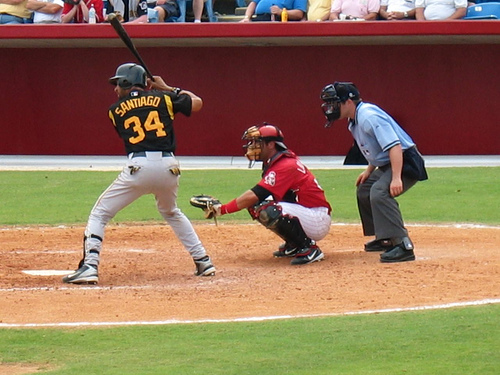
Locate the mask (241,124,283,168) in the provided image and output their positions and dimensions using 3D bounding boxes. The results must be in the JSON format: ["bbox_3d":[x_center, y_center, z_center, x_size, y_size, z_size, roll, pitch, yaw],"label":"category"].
[{"bbox_3d":[0.128,-0.508,11.632,0.407,0.444,0.393,14,27,35],"label":"mask"}]

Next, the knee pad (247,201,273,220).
[{"bbox_3d":[0.114,0.245,11.474,0.272,0.125,0.195,-18,16,4],"label":"knee pad"}]

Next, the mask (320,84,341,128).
[{"bbox_3d":[1.028,-0.980,11.641,0.351,0.535,0.297,-7,12,-4],"label":"mask"}]
